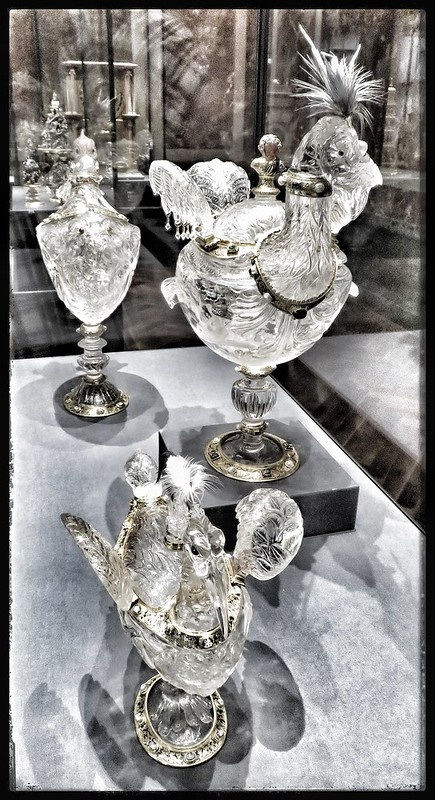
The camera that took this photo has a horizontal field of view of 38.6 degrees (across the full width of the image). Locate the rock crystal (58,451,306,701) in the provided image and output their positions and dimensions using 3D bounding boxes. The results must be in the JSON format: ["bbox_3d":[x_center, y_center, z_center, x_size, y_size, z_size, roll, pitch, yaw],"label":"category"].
[{"bbox_3d":[-0.037,0.210,0.777,0.259,0.336,0.258,9,25,17],"label":"rock crystal"}]

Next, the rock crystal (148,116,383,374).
[{"bbox_3d":[0.057,-0.276,1.113,0.301,0.517,0.412,-17,34,-37],"label":"rock crystal"}]
